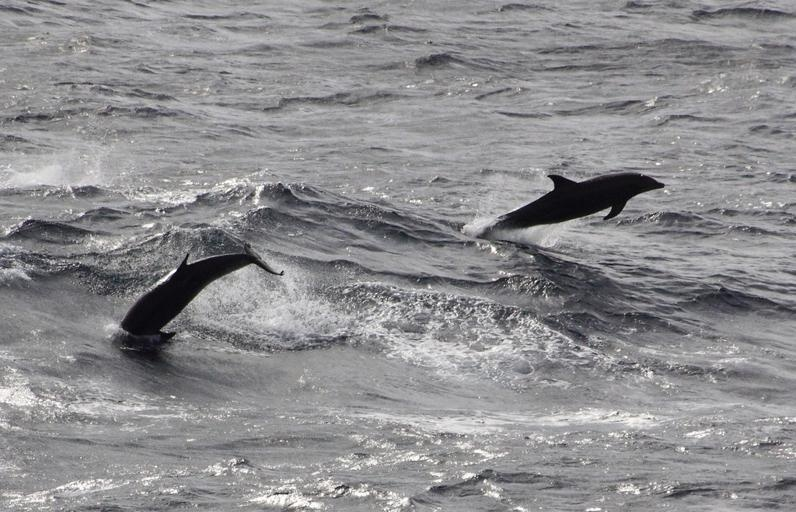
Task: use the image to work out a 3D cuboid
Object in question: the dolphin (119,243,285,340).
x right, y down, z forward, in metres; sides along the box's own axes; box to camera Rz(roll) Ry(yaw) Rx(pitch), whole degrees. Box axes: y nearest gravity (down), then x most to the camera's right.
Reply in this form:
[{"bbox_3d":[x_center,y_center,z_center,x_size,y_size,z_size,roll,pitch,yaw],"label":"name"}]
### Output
[{"bbox_3d":[-3.777,0.630,24.297,1.752,1.603,0.552,2,23,-25],"label":"dolphin"}]
